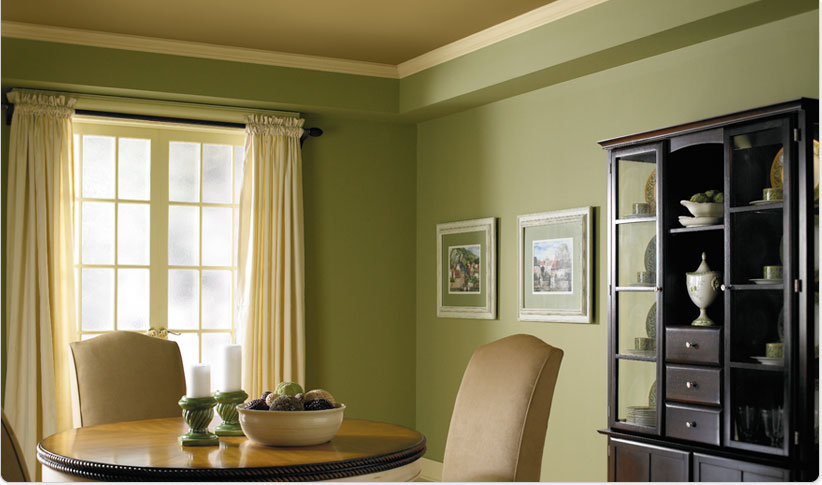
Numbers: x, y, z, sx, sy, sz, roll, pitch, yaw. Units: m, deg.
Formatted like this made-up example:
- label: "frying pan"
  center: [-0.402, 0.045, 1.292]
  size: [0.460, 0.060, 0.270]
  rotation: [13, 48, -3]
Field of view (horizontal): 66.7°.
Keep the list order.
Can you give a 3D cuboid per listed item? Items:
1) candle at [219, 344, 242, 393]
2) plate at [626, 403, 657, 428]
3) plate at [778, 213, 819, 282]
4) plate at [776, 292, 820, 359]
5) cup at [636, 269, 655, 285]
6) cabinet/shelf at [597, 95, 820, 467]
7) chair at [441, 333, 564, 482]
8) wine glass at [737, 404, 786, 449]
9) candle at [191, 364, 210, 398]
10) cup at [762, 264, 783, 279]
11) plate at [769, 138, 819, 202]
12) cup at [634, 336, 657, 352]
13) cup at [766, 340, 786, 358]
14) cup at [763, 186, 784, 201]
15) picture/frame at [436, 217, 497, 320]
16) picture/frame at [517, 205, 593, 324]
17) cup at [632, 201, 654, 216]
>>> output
- label: "candle"
  center: [-0.974, 0.679, 3.353]
  size: [0.121, 0.253, 0.080]
  rotation: [-1, 0, 9]
- label: "plate"
  center: [1.568, 1.176, 4.243]
  size: [0.151, 0.088, 0.152]
  rotation: [-4, -7, 36]
- label: "plate"
  center: [2.350, 0.037, 3.738]
  size: [0.234, 0.389, 0.096]
  rotation: [0, 0, -11]
- label: "plate"
  center: [2.326, 0.483, 3.709]
  size: [0.228, 0.399, 0.108]
  rotation: [0, 0, -1]
- label: "cup"
  center: [1.619, 0.232, 4.282]
  size: [0.098, 0.090, 0.097]
  rotation: [2, -4, 0]
- label: "cabinet/shelf"
  center: [1.922, 0.253, 4.062]
  size: [1.230, 1.927, 0.319]
  rotation: [-1, -1, 44]
- label: "chair"
  center: [0.482, 0.912, 3.387]
  size: [0.444, 0.777, 0.493]
  rotation: [0, -1, -42]
- label: "wine glass"
  center: [2.106, 1.112, 3.773]
  size: [0.236, 0.178, 0.233]
  rotation: [1, -11, 1]
- label: "candle"
  center: [-1.098, 0.720, 3.243]
  size: [0.090, 0.170, 0.037]
  rotation: [0, 0, -21]
- label: "cup"
  center: [2.203, 0.174, 3.779]
  size: [0.082, 0.057, 0.079]
  rotation: [1, -5, 0]
- label: "plate"
  center: [2.296, -0.427, 3.755]
  size: [0.084, 0.323, 0.332]
  rotation: [-3, 3, -43]
- label: "cup"
  center: [1.609, 0.696, 4.275]
  size: [0.111, 0.075, 0.107]
  rotation: [0, -1, 0]
- label: "cup"
  center: [2.200, 0.650, 3.764]
  size: [0.093, 0.062, 0.089]
  rotation: [0, -7, 0]
- label: "cup"
  center: [2.201, -0.293, 3.787]
  size: [0.085, 0.055, 0.081]
  rotation: [0, -6, 0]
- label: "picture/frame"
  center: [0.549, 0.255, 5.863]
  size: [0.968, 1.107, 0.097]
  rotation: [-7, -8, 42]
- label: "picture/frame"
  center: [1.204, 0.197, 5.198]
  size: [0.093, 0.649, 0.693]
  rotation: [0, -1, -41]
- label: "cup"
  center: [1.607, -0.226, 4.310]
  size: [0.101, 0.068, 0.097]
  rotation: [0, -6, 0]
